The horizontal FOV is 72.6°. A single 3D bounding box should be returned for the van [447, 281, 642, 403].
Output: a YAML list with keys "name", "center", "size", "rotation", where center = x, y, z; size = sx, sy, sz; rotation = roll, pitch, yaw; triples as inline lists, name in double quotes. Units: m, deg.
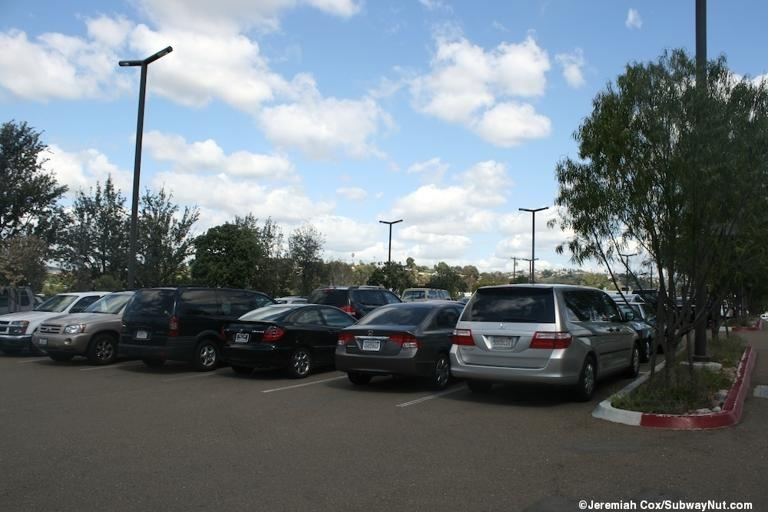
- name: "van"
  center: [3.876, 1.655, 11.670]
  size: [2.129, 1.622, 3.871]
  rotation: [-2, -1, 39]

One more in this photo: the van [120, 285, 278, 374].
- name: "van"
  center: [-5.324, 2.031, 15.469]
  size: [2.043, 1.537, 3.872]
  rotation: [-2, -1, 38]
